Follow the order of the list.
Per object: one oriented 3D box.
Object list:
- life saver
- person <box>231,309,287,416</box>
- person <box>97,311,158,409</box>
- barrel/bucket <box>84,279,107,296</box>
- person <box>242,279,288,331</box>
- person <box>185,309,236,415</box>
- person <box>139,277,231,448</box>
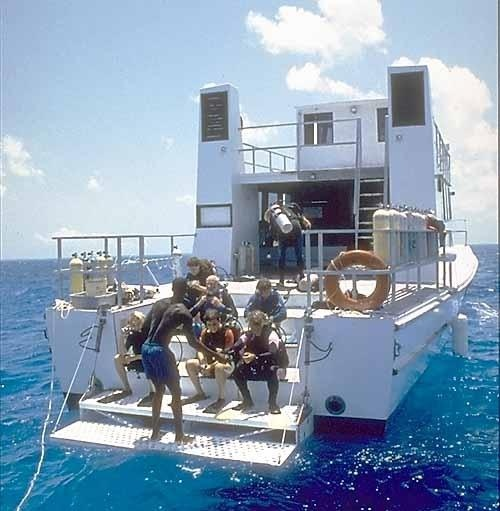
[{"bbox_3d":[1.313,0.322,5.389,0.768,0.757,0.652,-1,-1,19],"label":"life saver"},{"bbox_3d":[0.112,1.258,5.272,0.678,1.154,0.474,-1,-1,6],"label":"person"},{"bbox_3d":[-1.590,1.351,5.943,0.687,1.256,0.406,6,11,10],"label":"person"},{"bbox_3d":[-2.313,0.489,6.590,0.351,0.266,0.279,0,-1,-39],"label":"barrel/bucket"},{"bbox_3d":[0.235,0.663,5.794,0.524,1.014,0.550,2,27,10],"label":"person"},{"bbox_3d":[-0.500,1.295,5.520,0.485,1.212,0.604,2,-3,-3],"label":"person"},{"bbox_3d":[-0.877,1.195,4.991,0.721,1.820,0.781,0,-1,-24],"label":"person"}]
